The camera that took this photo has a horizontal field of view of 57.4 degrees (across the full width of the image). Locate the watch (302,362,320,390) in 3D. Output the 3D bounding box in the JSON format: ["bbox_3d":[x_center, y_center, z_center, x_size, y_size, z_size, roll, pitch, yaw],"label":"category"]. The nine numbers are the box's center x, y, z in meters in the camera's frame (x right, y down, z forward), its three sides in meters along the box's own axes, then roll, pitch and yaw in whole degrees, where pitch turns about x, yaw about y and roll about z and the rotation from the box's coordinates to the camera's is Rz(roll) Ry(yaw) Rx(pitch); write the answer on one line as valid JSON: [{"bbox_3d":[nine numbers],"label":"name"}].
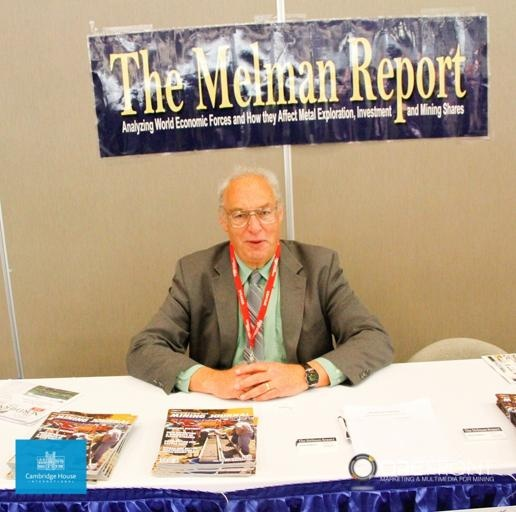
[{"bbox_3d":[0.162,0.366,1.433,0.039,0.064,0.058,1,-17,-24],"label":"watch"}]

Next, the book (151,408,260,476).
[{"bbox_3d":[-0.122,0.450,1.158,0.234,0.032,0.262,-3,9,-1],"label":"book"}]

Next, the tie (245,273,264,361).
[{"bbox_3d":[-0.013,0.219,1.776,0.087,0.302,0.180,-2,9,1],"label":"tie"}]

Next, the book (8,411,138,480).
[{"bbox_3d":[-0.412,0.439,1.152,0.142,0.038,0.157,-1,19,3],"label":"book"}]
